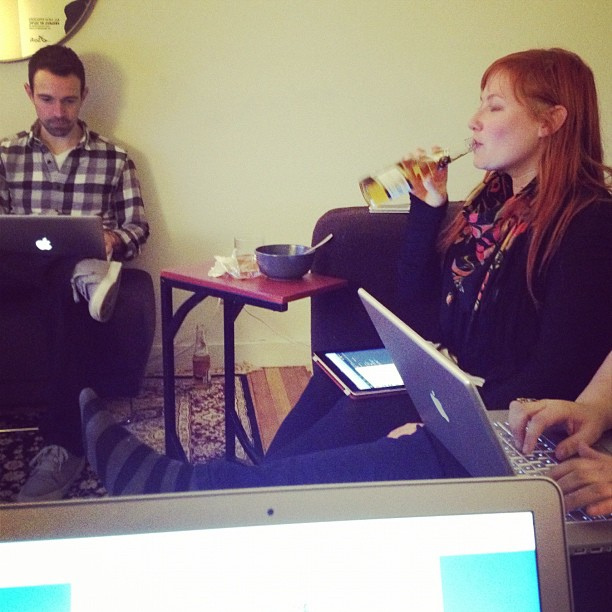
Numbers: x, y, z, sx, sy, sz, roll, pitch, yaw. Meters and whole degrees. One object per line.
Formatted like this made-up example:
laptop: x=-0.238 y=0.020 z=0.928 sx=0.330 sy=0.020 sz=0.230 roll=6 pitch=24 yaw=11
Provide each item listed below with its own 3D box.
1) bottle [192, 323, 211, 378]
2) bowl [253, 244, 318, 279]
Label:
bottle: x=-0.449 y=0.195 z=2.479 sx=0.068 sy=0.239 sz=0.230 roll=-1 pitch=19 yaw=-7
bowl: x=-0.040 y=-0.117 z=1.641 sx=0.123 sy=0.056 sz=0.128 roll=1 pitch=2 yaw=0
